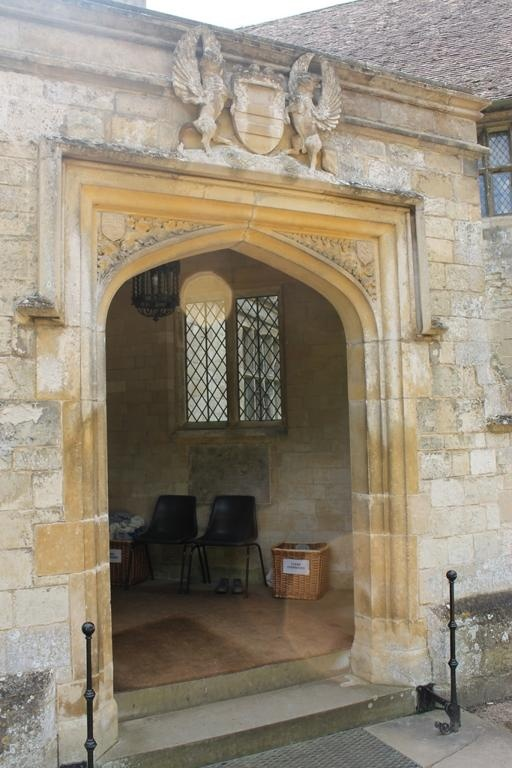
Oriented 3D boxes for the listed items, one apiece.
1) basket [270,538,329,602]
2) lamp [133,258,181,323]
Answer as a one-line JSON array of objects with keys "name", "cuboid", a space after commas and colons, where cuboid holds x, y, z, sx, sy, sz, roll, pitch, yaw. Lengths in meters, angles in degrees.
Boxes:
[{"name": "basket", "cuboid": [0.202, 1.561, 7.214, 0.573, 0.380, 0.517, 4, -17, -13]}, {"name": "lamp", "cuboid": [-0.782, -0.734, 6.865, 0.342, 0.429, 0.417, -5, -6, 29]}]
